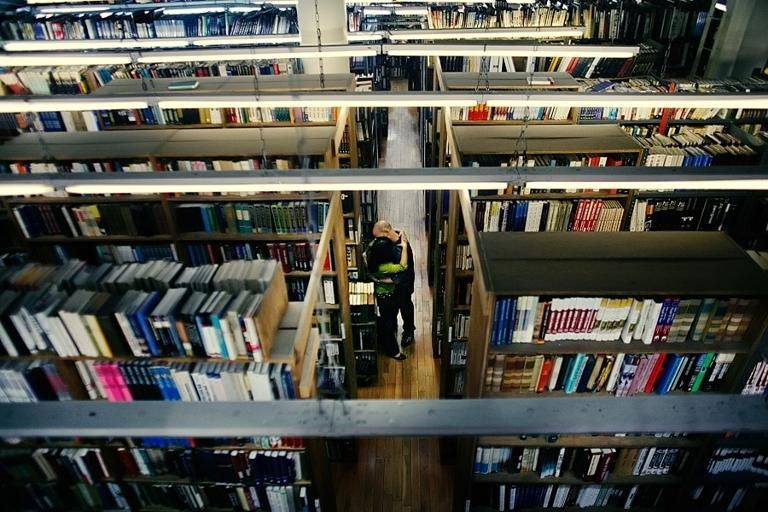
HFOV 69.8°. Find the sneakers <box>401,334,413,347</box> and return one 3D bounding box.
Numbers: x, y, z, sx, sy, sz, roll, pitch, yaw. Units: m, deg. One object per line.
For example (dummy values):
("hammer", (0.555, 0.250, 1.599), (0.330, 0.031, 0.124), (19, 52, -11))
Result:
("sneakers", (0.287, 1.098, 7.119), (0.113, 0.213, 0.084), (5, -49, 9))
